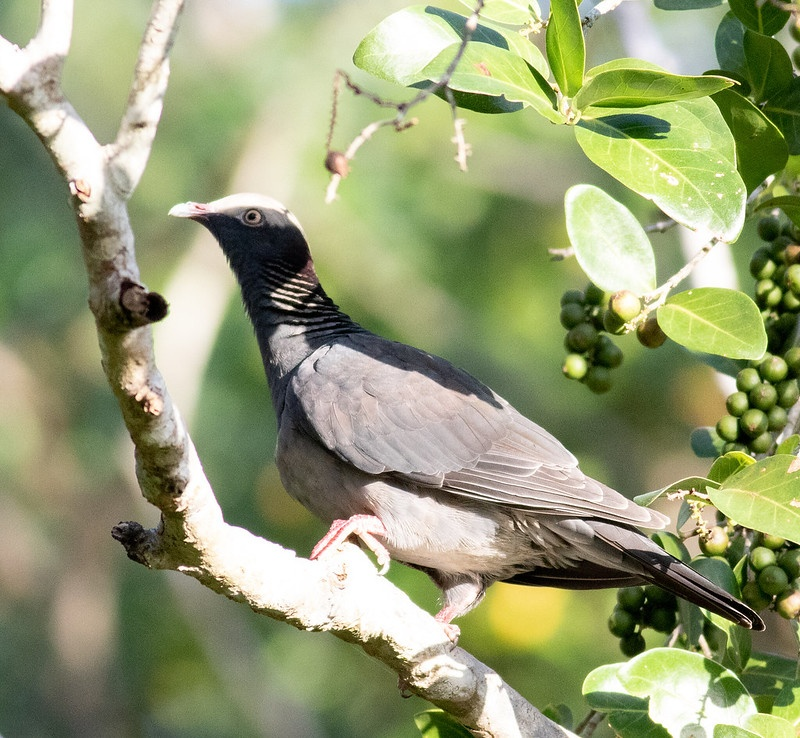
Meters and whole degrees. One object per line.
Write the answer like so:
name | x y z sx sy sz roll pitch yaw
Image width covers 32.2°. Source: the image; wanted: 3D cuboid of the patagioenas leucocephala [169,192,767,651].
patagioenas leucocephala | 0.222 0.237 5.574 2.520 1.607 0.759 8 -7 1

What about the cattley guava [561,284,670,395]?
cattley guava | 0.680 -0.099 4.596 0.291 0.409 0.348 8 13 19
